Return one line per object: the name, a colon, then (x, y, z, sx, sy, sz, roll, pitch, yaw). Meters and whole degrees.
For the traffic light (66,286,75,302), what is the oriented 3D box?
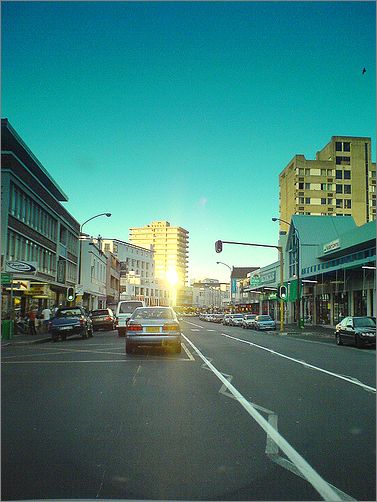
traffic light: (-7.291, 2.658, 29.821, 0.388, 0.880, 1.262, 1, -9, -19)

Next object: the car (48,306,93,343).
car: (-5.954, 3.680, 24.230, 1.954, 1.690, 2.145, 1, -9, -19)

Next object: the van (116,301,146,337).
van: (-3.446, 3.750, 26.926, 1.199, 1.604, 2.376, 0, -1, 1)

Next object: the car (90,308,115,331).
car: (-6.174, 4.829, 34.306, 1.892, 1.347, 1.108, 5, -10, -38)

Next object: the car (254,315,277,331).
car: (6.595, 6.236, 41.572, 1.627, 1.344, 2.608, -3, -9, 6)

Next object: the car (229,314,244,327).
car: (5.511, 7.913, 54.772, 1.096, 1.286, 2.224, 1, -4, 1)

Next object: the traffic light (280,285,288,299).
traffic light: (6.597, 2.882, 33.536, 0.382, 0.953, 1.549, -3, -9, 13)

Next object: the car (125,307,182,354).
car: (-1.119, 2.574, 15.358, 1.273, 1.263, 3.213, 0, -4, -3)

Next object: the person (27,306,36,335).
person: (-8.677, 3.905, 26.741, 0.356, 1.552, 2.095, 1, -9, -18)

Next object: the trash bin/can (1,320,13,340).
trash bin/can: (-8.518, 3.717, 22.628, 0.442, 0.906, 0.835, 2, -9, -24)
